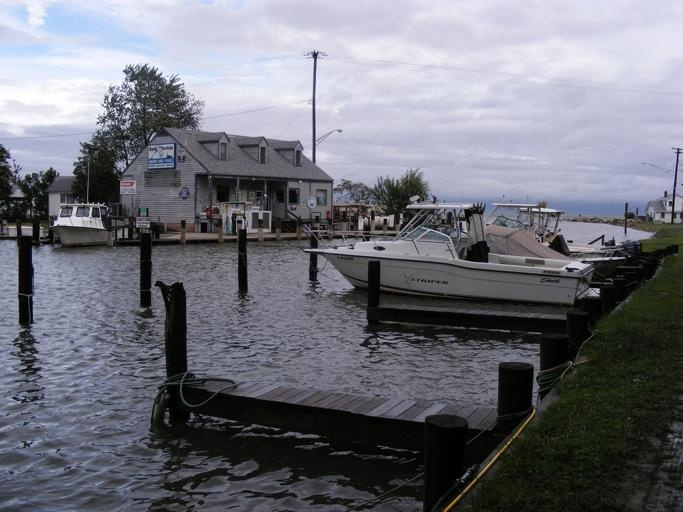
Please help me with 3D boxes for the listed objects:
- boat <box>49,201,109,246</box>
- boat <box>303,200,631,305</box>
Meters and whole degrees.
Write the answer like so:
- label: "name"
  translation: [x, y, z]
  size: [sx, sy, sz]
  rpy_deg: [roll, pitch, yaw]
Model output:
- label: "boat"
  translation: [-12.717, -1.388, 33.387]
  size: [1.609, 1.963, 2.254]
  rpy_deg: [11, 16, 35]
- label: "boat"
  translation: [3.287, -0.204, 18.382]
  size: [7.790, 2.252, 3.028]
  rpy_deg: [0, 3, 14]
